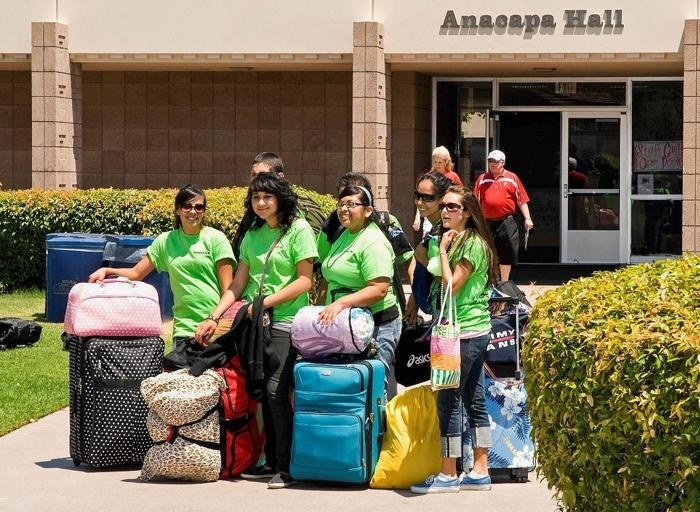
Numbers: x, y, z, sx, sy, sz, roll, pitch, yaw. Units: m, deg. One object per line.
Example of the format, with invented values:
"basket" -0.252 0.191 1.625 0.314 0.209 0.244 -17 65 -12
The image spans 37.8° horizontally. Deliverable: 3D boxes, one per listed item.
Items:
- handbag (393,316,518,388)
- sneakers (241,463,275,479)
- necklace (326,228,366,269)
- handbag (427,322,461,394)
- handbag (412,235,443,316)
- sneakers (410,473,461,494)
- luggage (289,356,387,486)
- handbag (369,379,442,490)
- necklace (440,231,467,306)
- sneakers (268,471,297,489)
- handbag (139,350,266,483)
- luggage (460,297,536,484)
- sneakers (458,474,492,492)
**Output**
"handbag" 0.918 0.809 8.771 0.799 0.288 0.621 -3 4 -24
"sneakers" -0.775 1.819 8.635 0.255 0.111 0.111 2 -3 -5
"necklace" -0.028 -0.053 8.615 0.140 0.261 0.265 36 -7 -25
"handbag" 0.737 0.796 8.025 0.215 0.508 0.195 0 10 2
"handbag" 0.644 0.183 8.561 0.341 0.709 0.599 2 8 10
"sneakers" 0.694 1.856 8.378 0.416 0.179 0.161 1 -4 3
"luggage" -0.148 1.351 8.468 0.693 0.995 0.533 2 6 11
"handbag" 0.445 1.515 8.412 0.805 0.990 0.370 -1 -8 2
"necklace" 0.815 0.049 8.193 0.128 0.450 0.315 4 -5 -37
"sneakers" -0.562 1.858 8.462 0.092 0.097 0.253 -2 -5 43
"handbag" -1.234 1.396 8.867 0.992 1.034 0.809 -1 4 -3
"luggage" 1.280 1.275 8.789 0.626 1.123 0.664 -2 5 -3
"sneakers" 1.006 1.842 8.307 0.264 0.116 0.109 2 1 6
